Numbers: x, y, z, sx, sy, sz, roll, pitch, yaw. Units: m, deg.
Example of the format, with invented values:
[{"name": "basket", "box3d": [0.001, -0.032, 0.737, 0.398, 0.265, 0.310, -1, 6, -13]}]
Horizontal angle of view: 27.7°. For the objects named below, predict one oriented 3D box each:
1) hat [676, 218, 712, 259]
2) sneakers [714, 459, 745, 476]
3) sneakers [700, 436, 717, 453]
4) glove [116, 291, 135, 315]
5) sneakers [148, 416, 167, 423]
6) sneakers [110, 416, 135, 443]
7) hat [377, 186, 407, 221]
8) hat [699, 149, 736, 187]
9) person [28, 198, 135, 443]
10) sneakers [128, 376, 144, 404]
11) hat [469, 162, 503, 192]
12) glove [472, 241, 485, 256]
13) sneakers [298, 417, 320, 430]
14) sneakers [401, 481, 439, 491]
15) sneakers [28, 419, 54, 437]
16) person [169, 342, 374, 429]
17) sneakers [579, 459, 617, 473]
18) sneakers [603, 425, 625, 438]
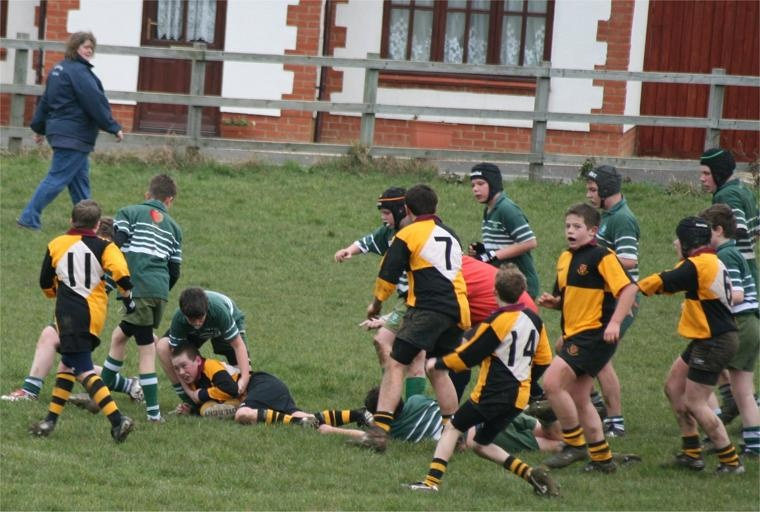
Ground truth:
[{"name": "hat", "box3d": [4.317, -0.310, 21.034, 0.497, 0.601, 0.527, 1, 12, -17]}, {"name": "sneakers", "box3d": [4.695, 2.831, 20.706, 0.385, 0.199, 0.157, 1, 24, 6]}, {"name": "sneakers", "box3d": [4.532, 2.607, 21.252, 0.225, 0.190, 0.230, 6, 6, 30]}, {"name": "glove", "box3d": [-3.488, 0.629, 21.236, 0.152, 0.325, 0.330, -9, 36, 5]}, {"name": "sneakers", "box3d": [-3.124, 2.272, 21.458, 0.239, 0.102, 0.111, -1, -10, -10]}, {"name": "sneakers", "box3d": [-3.503, 2.327, 20.776, 0.239, 0.485, 0.178, 29, 35, 5]}, {"name": "hat", "box3d": [0.181, -0.746, 21.701, 0.405, 0.461, 0.348, 7, 9, 22]}, {"name": "hat", "box3d": [4.889, -1.243, 22.242, 0.497, 0.589, 0.407, -5, -8, 8]}, {"name": "person", "box3d": [-4.050, 0.842, 20.943, 1.271, 3.184, 0.841, 1, 5, -11]}, {"name": "sneakers", "box3d": [-3.508, 1.913, 22.060, 0.223, 0.339, 0.275, -7, 3, 12]}, {"name": "hat", "box3d": [1.539, -1.137, 22.269, 0.418, 0.423, 0.366, -20, 3, -24]}, {"name": "glove", "box3d": [1.394, -0.125, 22.136, 0.185, 0.140, 0.196, -6, 54, -27]}, {"name": "sneakers", "box3d": [-0.994, 2.286, 21.334, 0.281, 0.156, 0.114, 3, 5, 0]}, {"name": "sneakers", "box3d": [0.521, 2.988, 20.184, 0.477, 0.126, 0.165, 4, 5, 12]}, {"name": "sneakers", "box3d": [-4.588, 2.314, 20.749, 0.296, 0.183, 0.173, 6, 10, 12]}, {"name": "person", "box3d": [-1.691, 2.085, 21.750, 2.140, 0.887, 1.341, 15, -16, 0]}, {"name": "sneakers", "box3d": [2.954, 2.816, 20.758, 0.458, 0.247, 0.182, 3, -5, 4]}, {"name": "sneakers", "box3d": [3.281, 2.401, 21.557, 0.296, 0.231, 0.153, 3, 5, 8]}]
